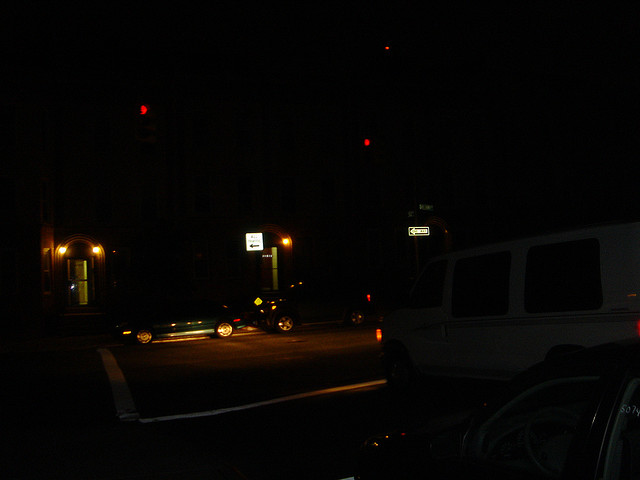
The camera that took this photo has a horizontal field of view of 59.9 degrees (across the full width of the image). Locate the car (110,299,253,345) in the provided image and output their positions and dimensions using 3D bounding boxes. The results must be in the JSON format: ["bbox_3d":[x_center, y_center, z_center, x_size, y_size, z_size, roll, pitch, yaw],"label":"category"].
[{"bbox_3d":[-5.080,3.013,20.562,4.332,1.422,1.838,2,-7,-24],"label":"car"}]

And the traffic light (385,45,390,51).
[{"bbox_3d":[2.580,-7.343,21.352,0.173,0.204,0.058,-2,-3,3],"label":"traffic light"}]

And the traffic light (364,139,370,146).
[{"bbox_3d":[2.098,-4.333,24.875,0.226,0.342,0.231,-2,-3,6],"label":"traffic light"}]

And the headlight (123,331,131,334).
[{"bbox_3d":[-6.692,3.222,19.263,0.234,0.141,0.080,2,-3,-21],"label":"headlight"}]

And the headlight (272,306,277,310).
[{"bbox_3d":[-1.776,2.648,21.509,0.034,0.098,0.135,22,-46,-17],"label":"headlight"}]

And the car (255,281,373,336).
[{"bbox_3d":[-0.486,2.752,22.887,4.170,2.037,2.132,3,-5,-24],"label":"car"}]

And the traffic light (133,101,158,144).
[{"bbox_3d":[-4.551,-3.157,14.586,0.557,1.056,0.891,-1,-3,-20],"label":"traffic light"}]
